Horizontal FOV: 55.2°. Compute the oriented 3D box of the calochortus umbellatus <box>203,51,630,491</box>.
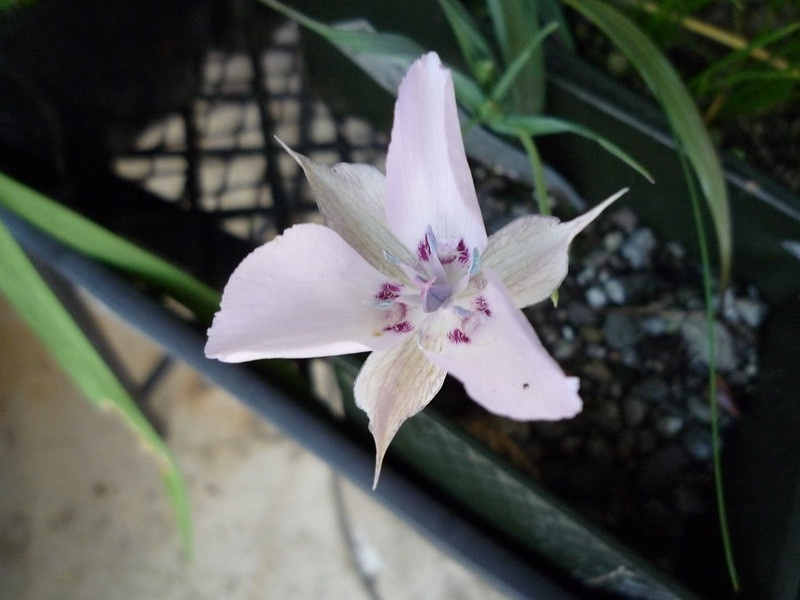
[{"bbox_3d":[0.009,-0.011,0.577,0.304,0.151,0.307,24,69,29],"label":"calochortus umbellatus"}]
